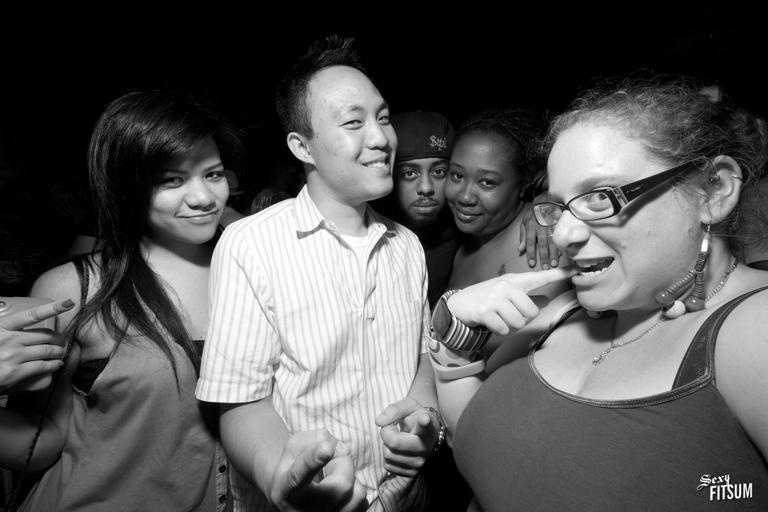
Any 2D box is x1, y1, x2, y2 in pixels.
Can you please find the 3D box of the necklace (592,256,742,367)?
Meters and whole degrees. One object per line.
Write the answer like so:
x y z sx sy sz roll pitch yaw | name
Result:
0.780 0.144 1.642 0.055 0.372 0.046 38 6 -29 | necklace

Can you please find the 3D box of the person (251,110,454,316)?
-0.074 -0.149 2.260 0.845 0.795 0.406 -9 17 -39 | person

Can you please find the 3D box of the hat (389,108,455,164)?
0.173 -0.587 2.874 0.223 0.308 0.301 -4 14 -22 | hat
